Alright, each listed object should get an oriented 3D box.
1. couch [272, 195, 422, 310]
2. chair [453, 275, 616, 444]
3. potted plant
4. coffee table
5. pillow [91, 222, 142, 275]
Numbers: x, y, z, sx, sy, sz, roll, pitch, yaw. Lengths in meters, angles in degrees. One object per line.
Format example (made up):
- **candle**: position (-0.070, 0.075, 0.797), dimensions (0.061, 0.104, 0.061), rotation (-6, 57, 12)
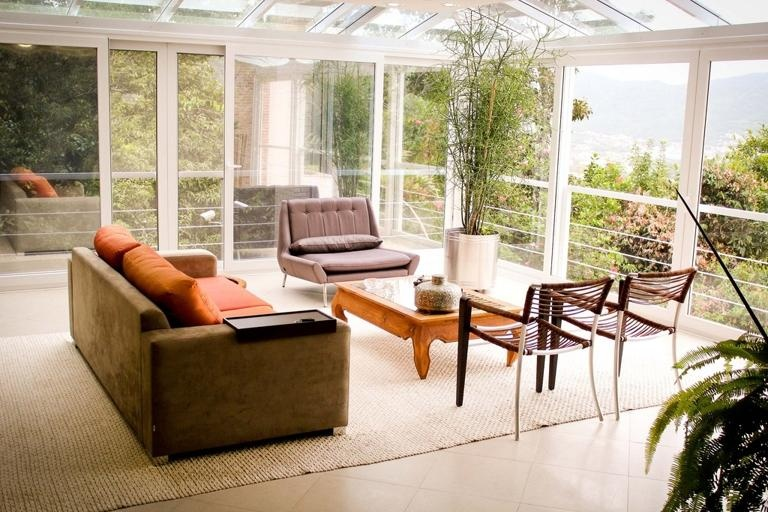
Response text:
- **couch**: position (-0.473, -0.168, 6.611), dimensions (1.459, 0.968, 1.203), rotation (-7, 15, -34)
- **chair**: position (1.092, 0.642, 4.061), dimensions (0.949, 0.987, 0.890), rotation (0, 4, -15)
- **potted plant**: position (1.193, -1.181, 7.249), dimensions (2.035, 3.127, 1.832), rotation (2, -1, 17)
- **coffee table**: position (0.515, 0.704, 5.549), dimensions (1.214, 0.562, 1.825), rotation (17, 9, 43)
- **pillow**: position (-2.116, -0.092, 4.285), dimensions (0.358, 0.248, 0.681), rotation (-12, 18, -28)
